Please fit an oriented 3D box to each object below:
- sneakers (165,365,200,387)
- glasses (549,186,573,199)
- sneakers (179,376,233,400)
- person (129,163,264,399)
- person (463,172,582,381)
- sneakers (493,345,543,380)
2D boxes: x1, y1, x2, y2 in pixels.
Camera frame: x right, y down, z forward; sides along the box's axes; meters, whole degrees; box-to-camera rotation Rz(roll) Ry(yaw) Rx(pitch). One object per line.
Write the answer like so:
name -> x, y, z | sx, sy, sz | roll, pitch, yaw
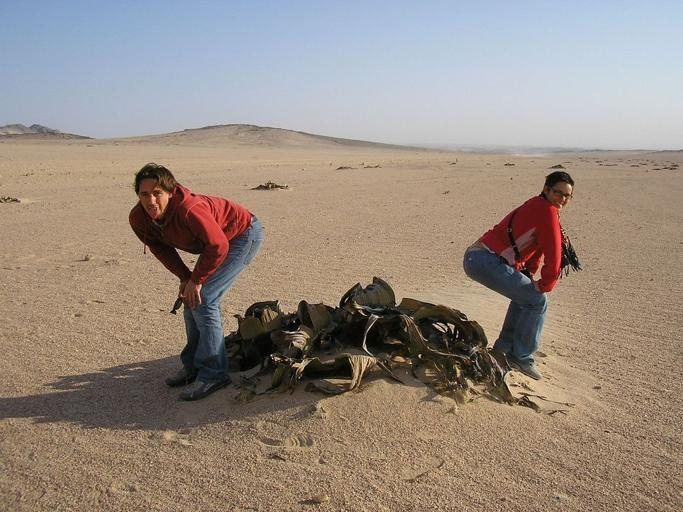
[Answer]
sneakers -> -1.540, 1.177, 5.122 | 0.403, 0.156, 0.128 | -3, 14, -19
glasses -> 2.126, -0.596, 4.925 | 0.238, 0.105, 0.119 | -9, 17, -31
sneakers -> -1.238, 1.222, 4.762 | 0.429, 0.157, 0.150 | -18, 11, -22
person -> -1.284, 0.230, 4.791 | 1.144, 2.156, 0.702 | -5, 16, -17
person -> 1.699, 0.186, 5.115 | 0.888, 2.011, 0.594 | 5, 16, 19
sneakers -> 1.682, 1.029, 5.006 | 0.498, 0.198, 0.163 | 21, 12, -4
